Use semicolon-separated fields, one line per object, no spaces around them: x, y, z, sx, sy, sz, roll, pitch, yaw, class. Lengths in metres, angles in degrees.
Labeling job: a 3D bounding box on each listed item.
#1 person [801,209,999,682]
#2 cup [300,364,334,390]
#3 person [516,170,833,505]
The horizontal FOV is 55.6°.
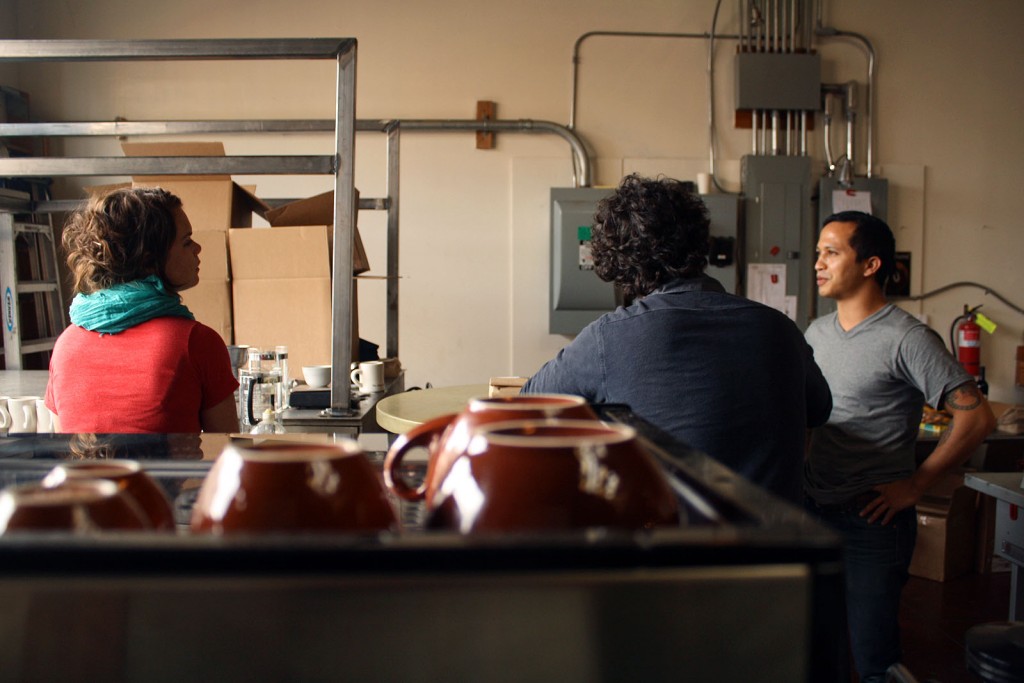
1.534;0.412;4.051;0.510;1.921;0.689;-2;4;-30;person
-0.908;0.162;4.529;0.125;0.062;0.123;-2;-9;0;cup
0.683;0.273;3.747;1.146;1.689;0.862;-2;9;13;person
